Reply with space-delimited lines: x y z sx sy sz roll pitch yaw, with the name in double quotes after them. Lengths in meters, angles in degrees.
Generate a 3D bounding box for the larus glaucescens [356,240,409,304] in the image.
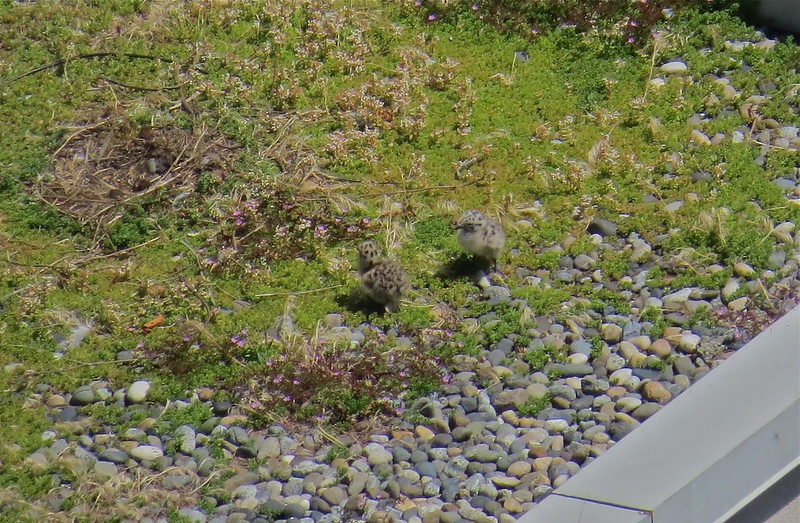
-0.228 0.094 13.968 0.524 0.270 0.723 -30 86 29 "larus glaucescens"
